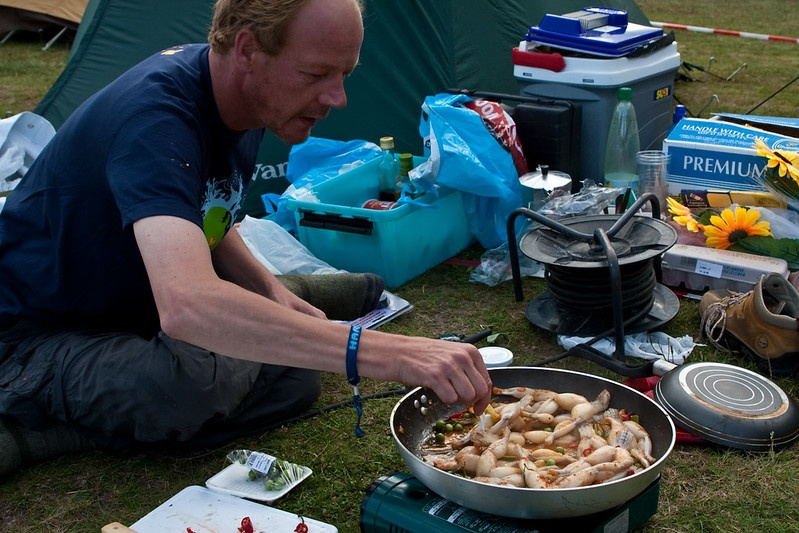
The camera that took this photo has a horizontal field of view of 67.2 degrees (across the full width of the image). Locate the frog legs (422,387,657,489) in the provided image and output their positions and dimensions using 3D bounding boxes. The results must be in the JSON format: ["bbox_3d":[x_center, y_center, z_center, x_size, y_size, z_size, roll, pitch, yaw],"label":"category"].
[{"bbox_3d":[0.407,0.416,1.849,0.707,0.207,0.577,2,13,10],"label":"frog legs"}]

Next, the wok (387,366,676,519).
[{"bbox_3d":[0.347,0.488,1.636,0.479,0.180,0.751,11,22,-19],"label":"wok"}]
